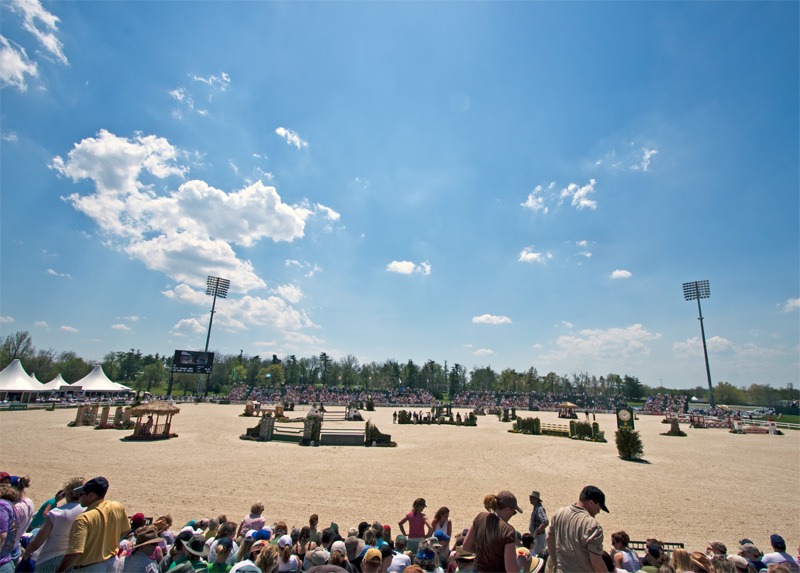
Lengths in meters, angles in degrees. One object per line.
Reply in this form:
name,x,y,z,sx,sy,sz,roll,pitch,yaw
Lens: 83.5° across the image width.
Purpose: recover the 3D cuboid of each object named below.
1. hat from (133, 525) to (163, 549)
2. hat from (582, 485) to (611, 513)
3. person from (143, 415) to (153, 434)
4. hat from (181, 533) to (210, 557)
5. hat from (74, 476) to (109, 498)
hat,-6.126,6.082,10.929,0.543,0.235,0.494,-1,-3,-33
hat,4.693,5.081,10.839,0.617,0.535,0.721,4,-18,-3
person,-17.416,9.423,30.985,0.680,1.321,1.196,13,-20,-30
hat,-5.242,6.537,11.451,0.512,0.213,0.464,21,-8,1
hat,-7.354,4.768,10.785,0.490,0.449,0.933,16,-22,-36
